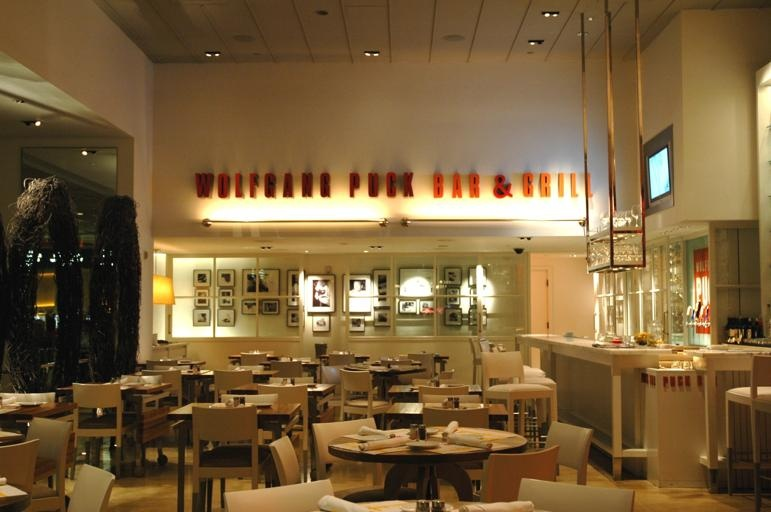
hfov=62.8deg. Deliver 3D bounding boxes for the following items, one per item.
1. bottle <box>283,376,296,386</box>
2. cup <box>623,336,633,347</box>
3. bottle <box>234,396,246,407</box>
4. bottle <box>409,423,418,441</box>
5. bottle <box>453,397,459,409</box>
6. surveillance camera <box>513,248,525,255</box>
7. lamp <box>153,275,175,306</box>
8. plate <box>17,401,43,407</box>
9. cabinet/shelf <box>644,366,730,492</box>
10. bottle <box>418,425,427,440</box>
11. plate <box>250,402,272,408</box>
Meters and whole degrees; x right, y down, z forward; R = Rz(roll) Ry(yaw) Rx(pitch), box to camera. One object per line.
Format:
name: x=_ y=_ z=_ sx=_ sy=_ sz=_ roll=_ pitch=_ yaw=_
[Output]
bottle: x=-1.336 y=1.717 z=8.623 sx=0.148 sy=0.097 sz=0.154 roll=-1 pitch=-5 yaw=0
cup: x=3.422 y=1.213 z=8.967 sx=0.185 sy=0.175 sz=0.111 roll=1 pitch=-9 yaw=-1
bottle: x=-1.644 y=1.619 z=7.035 sx=0.164 sy=0.114 sz=0.094 roll=1 pitch=1 yaw=-14
bottle: x=0.241 y=1.632 z=5.857 sx=0.061 sy=0.124 sz=0.223 roll=-1 pitch=-6 yaw=-9
bottle: x=0.747 y=1.572 z=6.760 sx=0.076 sy=0.105 sz=0.044 roll=1 pitch=-6 yaw=-26
surveillance camera: x=3.087 y=-0.126 z=14.693 sx=0.258 sy=0.116 sz=0.330 roll=-3 pitch=-6 yaw=9
lamp: x=-4.671 y=0.691 z=13.161 sx=0.570 sy=0.593 sz=0.540 roll=4 pitch=-9 yaw=-37
plate: x=-4.472 y=1.864 z=7.934 sx=0.173 sy=0.024 sz=0.172 roll=0 pitch=-1 yaw=0
cabinet/shelf: x=3.796 y=2.273 z=8.513 sx=1.044 sy=1.434 sz=1.048 roll=-4 pitch=-9 yaw=23
bottle: x=0.336 y=1.626 z=5.789 sx=0.052 sy=0.136 sz=0.113 roll=-5 pitch=-7 yaw=31
plate: x=-1.468 y=1.764 z=7.522 sx=0.219 sy=0.039 sz=0.310 roll=0 pitch=-6 yaw=-15
